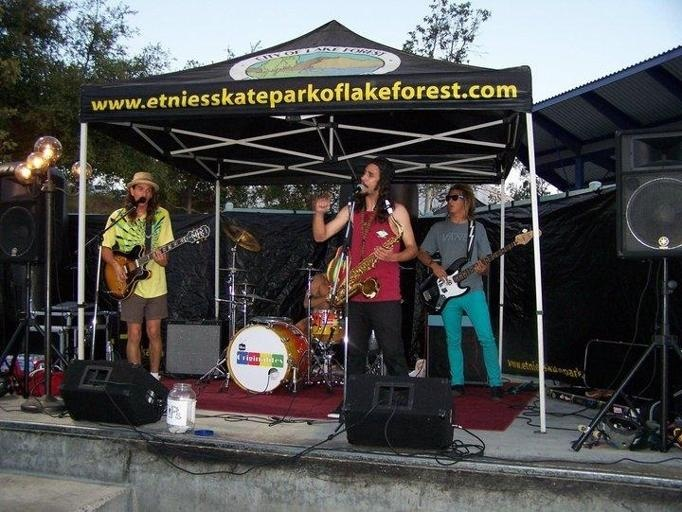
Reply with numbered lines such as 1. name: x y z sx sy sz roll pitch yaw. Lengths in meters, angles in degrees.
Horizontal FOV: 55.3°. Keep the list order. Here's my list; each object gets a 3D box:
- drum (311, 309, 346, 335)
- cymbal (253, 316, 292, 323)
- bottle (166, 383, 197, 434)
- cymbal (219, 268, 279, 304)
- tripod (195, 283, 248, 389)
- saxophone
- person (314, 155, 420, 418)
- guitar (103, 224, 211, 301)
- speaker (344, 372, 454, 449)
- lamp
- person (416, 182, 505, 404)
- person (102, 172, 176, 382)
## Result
1. drum: -0.180 0.724 7.080 0.368 0.265 0.355 2 -4 0
2. cymbal: -0.831 0.720 7.380 0.424 0.076 0.422 9 -8 -44
3. bottle: -1.344 1.274 5.495 0.232 0.387 0.257 5 -6 -16
4. cymbal: -1.243 0.424 8.149 0.765 0.595 0.686 3 4 20
5. tripod: -1.340 0.878 7.990 0.543 1.328 0.601 10 10 37
6. saxophone: 0.187 -0.025 5.854 0.550 1.013 0.552 2 4 5
7. person: 0.220 0.219 6.091 0.941 2.538 0.801 0 -1 -1
8. guitar: -2.120 0.126 7.273 1.351 0.614 0.166 -28 -11 17
9. speaker: 0.445 1.194 4.979 0.756 0.568 0.550 2 22 13
10. lamp: -2.795 0.094 6.437 0.636 2.735 0.664 -1 8 -36
11. person: 1.311 0.401 7.514 0.940 2.354 0.901 5 8 3
12. person: -2.282 0.032 7.401 0.918 2.652 0.864 0 -1 -6
